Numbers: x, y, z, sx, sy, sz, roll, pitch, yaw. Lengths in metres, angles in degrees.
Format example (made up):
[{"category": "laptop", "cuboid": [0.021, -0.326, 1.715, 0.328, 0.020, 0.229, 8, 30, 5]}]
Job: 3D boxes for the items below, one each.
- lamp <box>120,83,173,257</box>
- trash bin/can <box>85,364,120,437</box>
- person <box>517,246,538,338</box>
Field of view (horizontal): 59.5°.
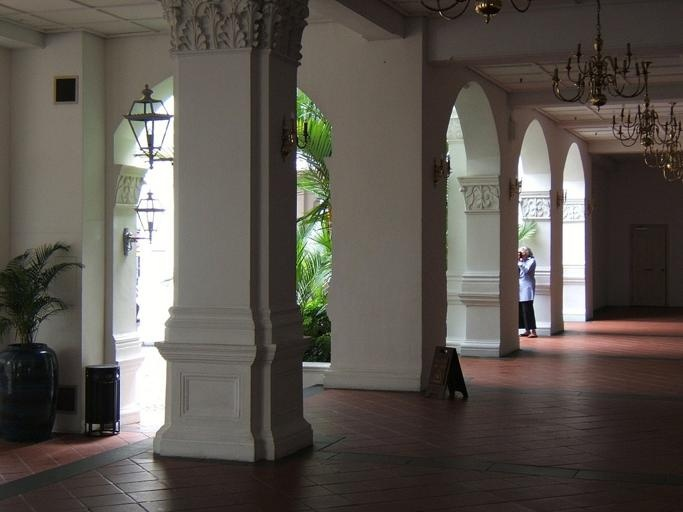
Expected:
[{"category": "lamp", "cuboid": [-2.828, -1.187, 8.680, 0.686, 2.343, 3.387, 0, -2, -17]}, {"category": "trash bin/can", "cuboid": [-3.092, 1.840, 7.712, 0.416, 0.883, 0.284, 1, -2, -25]}, {"category": "person", "cuboid": [4.287, 0.827, 13.742, 0.373, 2.053, 0.856, -1, -2, 17]}]
